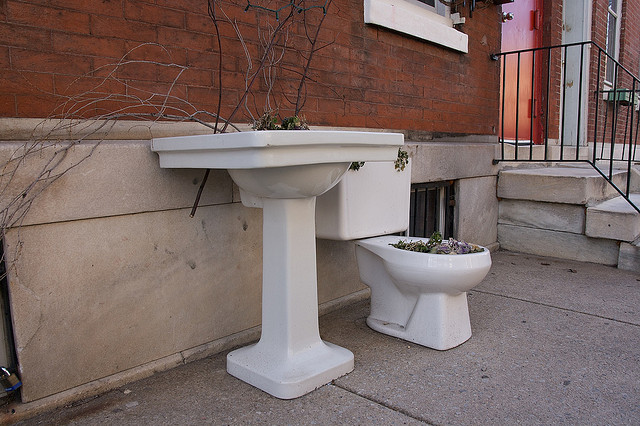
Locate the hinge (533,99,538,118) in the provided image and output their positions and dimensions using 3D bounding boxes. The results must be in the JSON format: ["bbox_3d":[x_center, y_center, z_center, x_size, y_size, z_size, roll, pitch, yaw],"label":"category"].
[{"bbox_3d":[2.657,-1.308,5.818,0.036,0.223,0.086,2,10,24],"label":"hinge"}]

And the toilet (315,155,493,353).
[{"bbox_3d":[0.579,0.197,2.967,1.040,1.070,0.716,5,7,43],"label":"toilet"}]

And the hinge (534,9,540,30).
[{"bbox_3d":[2.636,-2.377,5.744,0.027,0.221,0.114,6,13,42],"label":"hinge"}]
